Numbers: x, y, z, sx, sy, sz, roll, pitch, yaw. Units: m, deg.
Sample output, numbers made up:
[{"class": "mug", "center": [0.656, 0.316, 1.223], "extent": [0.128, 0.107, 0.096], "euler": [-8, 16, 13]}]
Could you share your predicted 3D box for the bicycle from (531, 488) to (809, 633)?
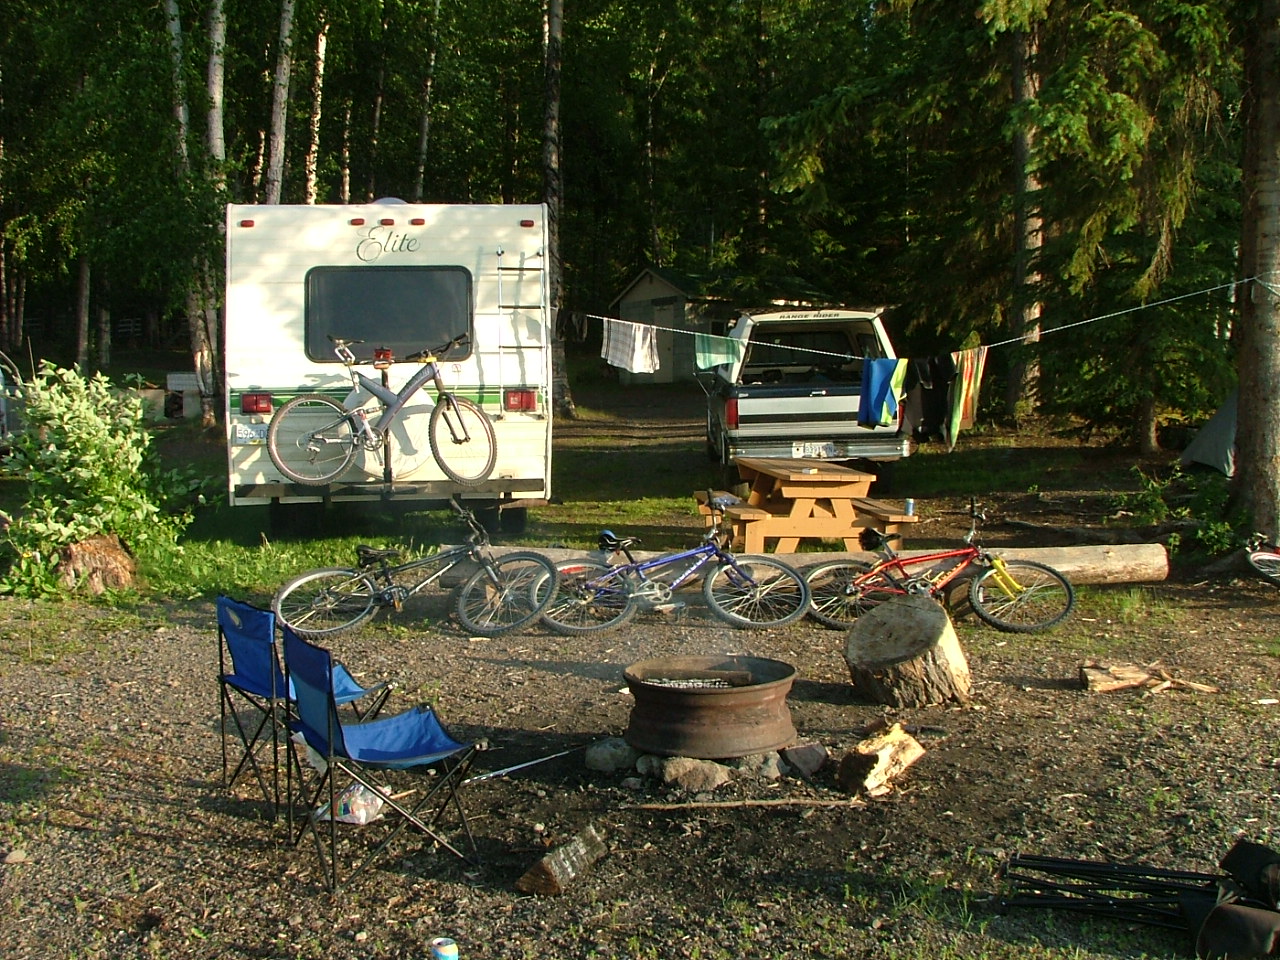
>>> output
[{"class": "bicycle", "center": [0.235, 0.726, 10.659], "extent": [2.208, 1.038, 0.936], "euler": [-1, -24, -2]}]

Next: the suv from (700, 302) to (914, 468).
[{"class": "suv", "center": [1.706, -1.149, 16.458], "extent": [2.285, 1.681, 3.746], "euler": [-3, 11, -6]}]

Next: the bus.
[{"class": "bus", "center": [-2.651, -1.218, 13.060], "extent": [3.416, 2.789, 2.590], "euler": [-4, 9, -37]}]

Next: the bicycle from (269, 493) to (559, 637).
[{"class": "bicycle", "center": [-1.712, 0.881, 10.815], "extent": [2.178, 0.920, 1.157], "euler": [-7, 16, -2]}]

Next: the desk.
[{"class": "desk", "center": [1.376, 0.187, 12.241], "extent": [0.975, 0.377, 0.945], "euler": [-7, 10, 42]}]

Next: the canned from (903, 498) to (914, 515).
[{"class": "canned", "center": [2.352, 0.241, 11.714], "extent": [0.126, 0.123, 0.118], "euler": [-4, 8, -25]}]

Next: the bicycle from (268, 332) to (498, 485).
[{"class": "bicycle", "center": [-2.400, -0.618, 12.703], "extent": [2.424, 1.338, 1.047], "euler": [-2, 0, -38]}]

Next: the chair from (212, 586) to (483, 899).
[{"class": "chair", "center": [-1.765, 1.610, 7.938], "extent": [0.604, 0.817, 1.440], "euler": [-13, 15, -32]}]
